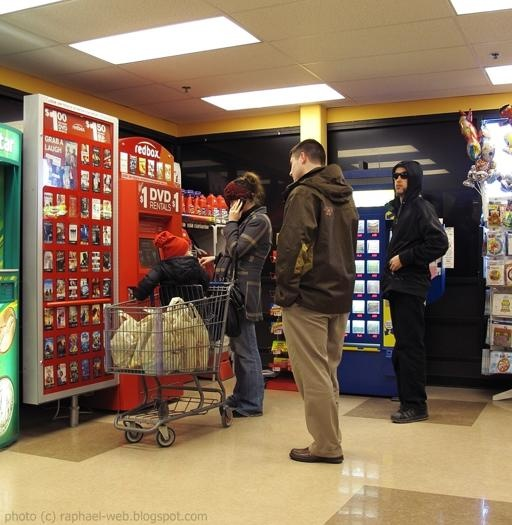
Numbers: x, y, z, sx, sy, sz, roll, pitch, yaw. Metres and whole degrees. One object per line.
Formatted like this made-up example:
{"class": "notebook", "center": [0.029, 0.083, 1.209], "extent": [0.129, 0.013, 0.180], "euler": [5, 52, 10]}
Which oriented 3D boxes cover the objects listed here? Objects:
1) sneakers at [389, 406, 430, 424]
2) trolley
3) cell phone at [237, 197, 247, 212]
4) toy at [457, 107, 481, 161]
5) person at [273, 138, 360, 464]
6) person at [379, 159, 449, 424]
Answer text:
{"class": "sneakers", "center": [1.266, 1.267, 3.879], "extent": [0.334, 0.139, 0.111], "euler": [3, -1, -16]}
{"class": "trolley", "center": [-0.635, 0.739, 3.607], "extent": [0.887, 1.134, 1.508], "euler": [0, -7, -6]}
{"class": "cell phone", "center": [-0.117, -0.490, 3.908], "extent": [0.072, 0.081, 0.093], "euler": [0, -3, 0]}
{"class": "toy", "center": [2.296, -1.373, 4.965], "extent": [0.179, 0.732, 0.597], "euler": [-4, -8, 25]}
{"class": "person", "center": [0.331, 0.197, 2.675], "extent": [0.379, 1.948, 0.643], "euler": [-5, -9, 35]}
{"class": "person", "center": [1.325, 0.384, 3.911], "extent": [0.421, 1.875, 0.532], "euler": [2, -8, -18]}
